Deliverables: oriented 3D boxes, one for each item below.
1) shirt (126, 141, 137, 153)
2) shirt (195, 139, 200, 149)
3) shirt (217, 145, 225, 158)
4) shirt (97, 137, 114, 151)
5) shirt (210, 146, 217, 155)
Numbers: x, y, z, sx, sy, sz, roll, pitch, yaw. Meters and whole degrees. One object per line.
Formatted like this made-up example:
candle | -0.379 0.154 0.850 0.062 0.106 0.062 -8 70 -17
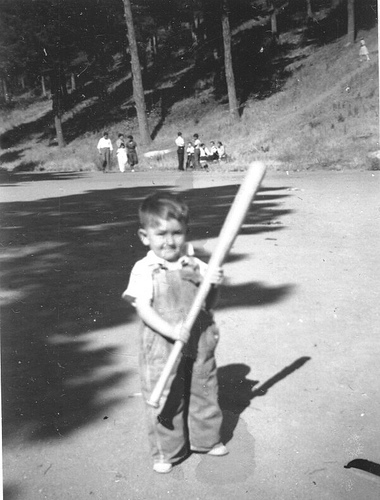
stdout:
shirt | -1.271 -2.236 12.199 0.272 0.278 0.159 0 3 -1
shirt | 0.174 -2.419 12.828 0.107 0.226 0.324 -2 12 1
shirt | 0.697 -2.181 12.518 0.138 0.257 0.417 -5 12 -12
shirt | -2.018 -2.529 13.358 0.334 0.294 0.160 -3 15 -23
shirt | 0.542 -2.268 12.780 0.051 0.182 0.189 10 5 -36
